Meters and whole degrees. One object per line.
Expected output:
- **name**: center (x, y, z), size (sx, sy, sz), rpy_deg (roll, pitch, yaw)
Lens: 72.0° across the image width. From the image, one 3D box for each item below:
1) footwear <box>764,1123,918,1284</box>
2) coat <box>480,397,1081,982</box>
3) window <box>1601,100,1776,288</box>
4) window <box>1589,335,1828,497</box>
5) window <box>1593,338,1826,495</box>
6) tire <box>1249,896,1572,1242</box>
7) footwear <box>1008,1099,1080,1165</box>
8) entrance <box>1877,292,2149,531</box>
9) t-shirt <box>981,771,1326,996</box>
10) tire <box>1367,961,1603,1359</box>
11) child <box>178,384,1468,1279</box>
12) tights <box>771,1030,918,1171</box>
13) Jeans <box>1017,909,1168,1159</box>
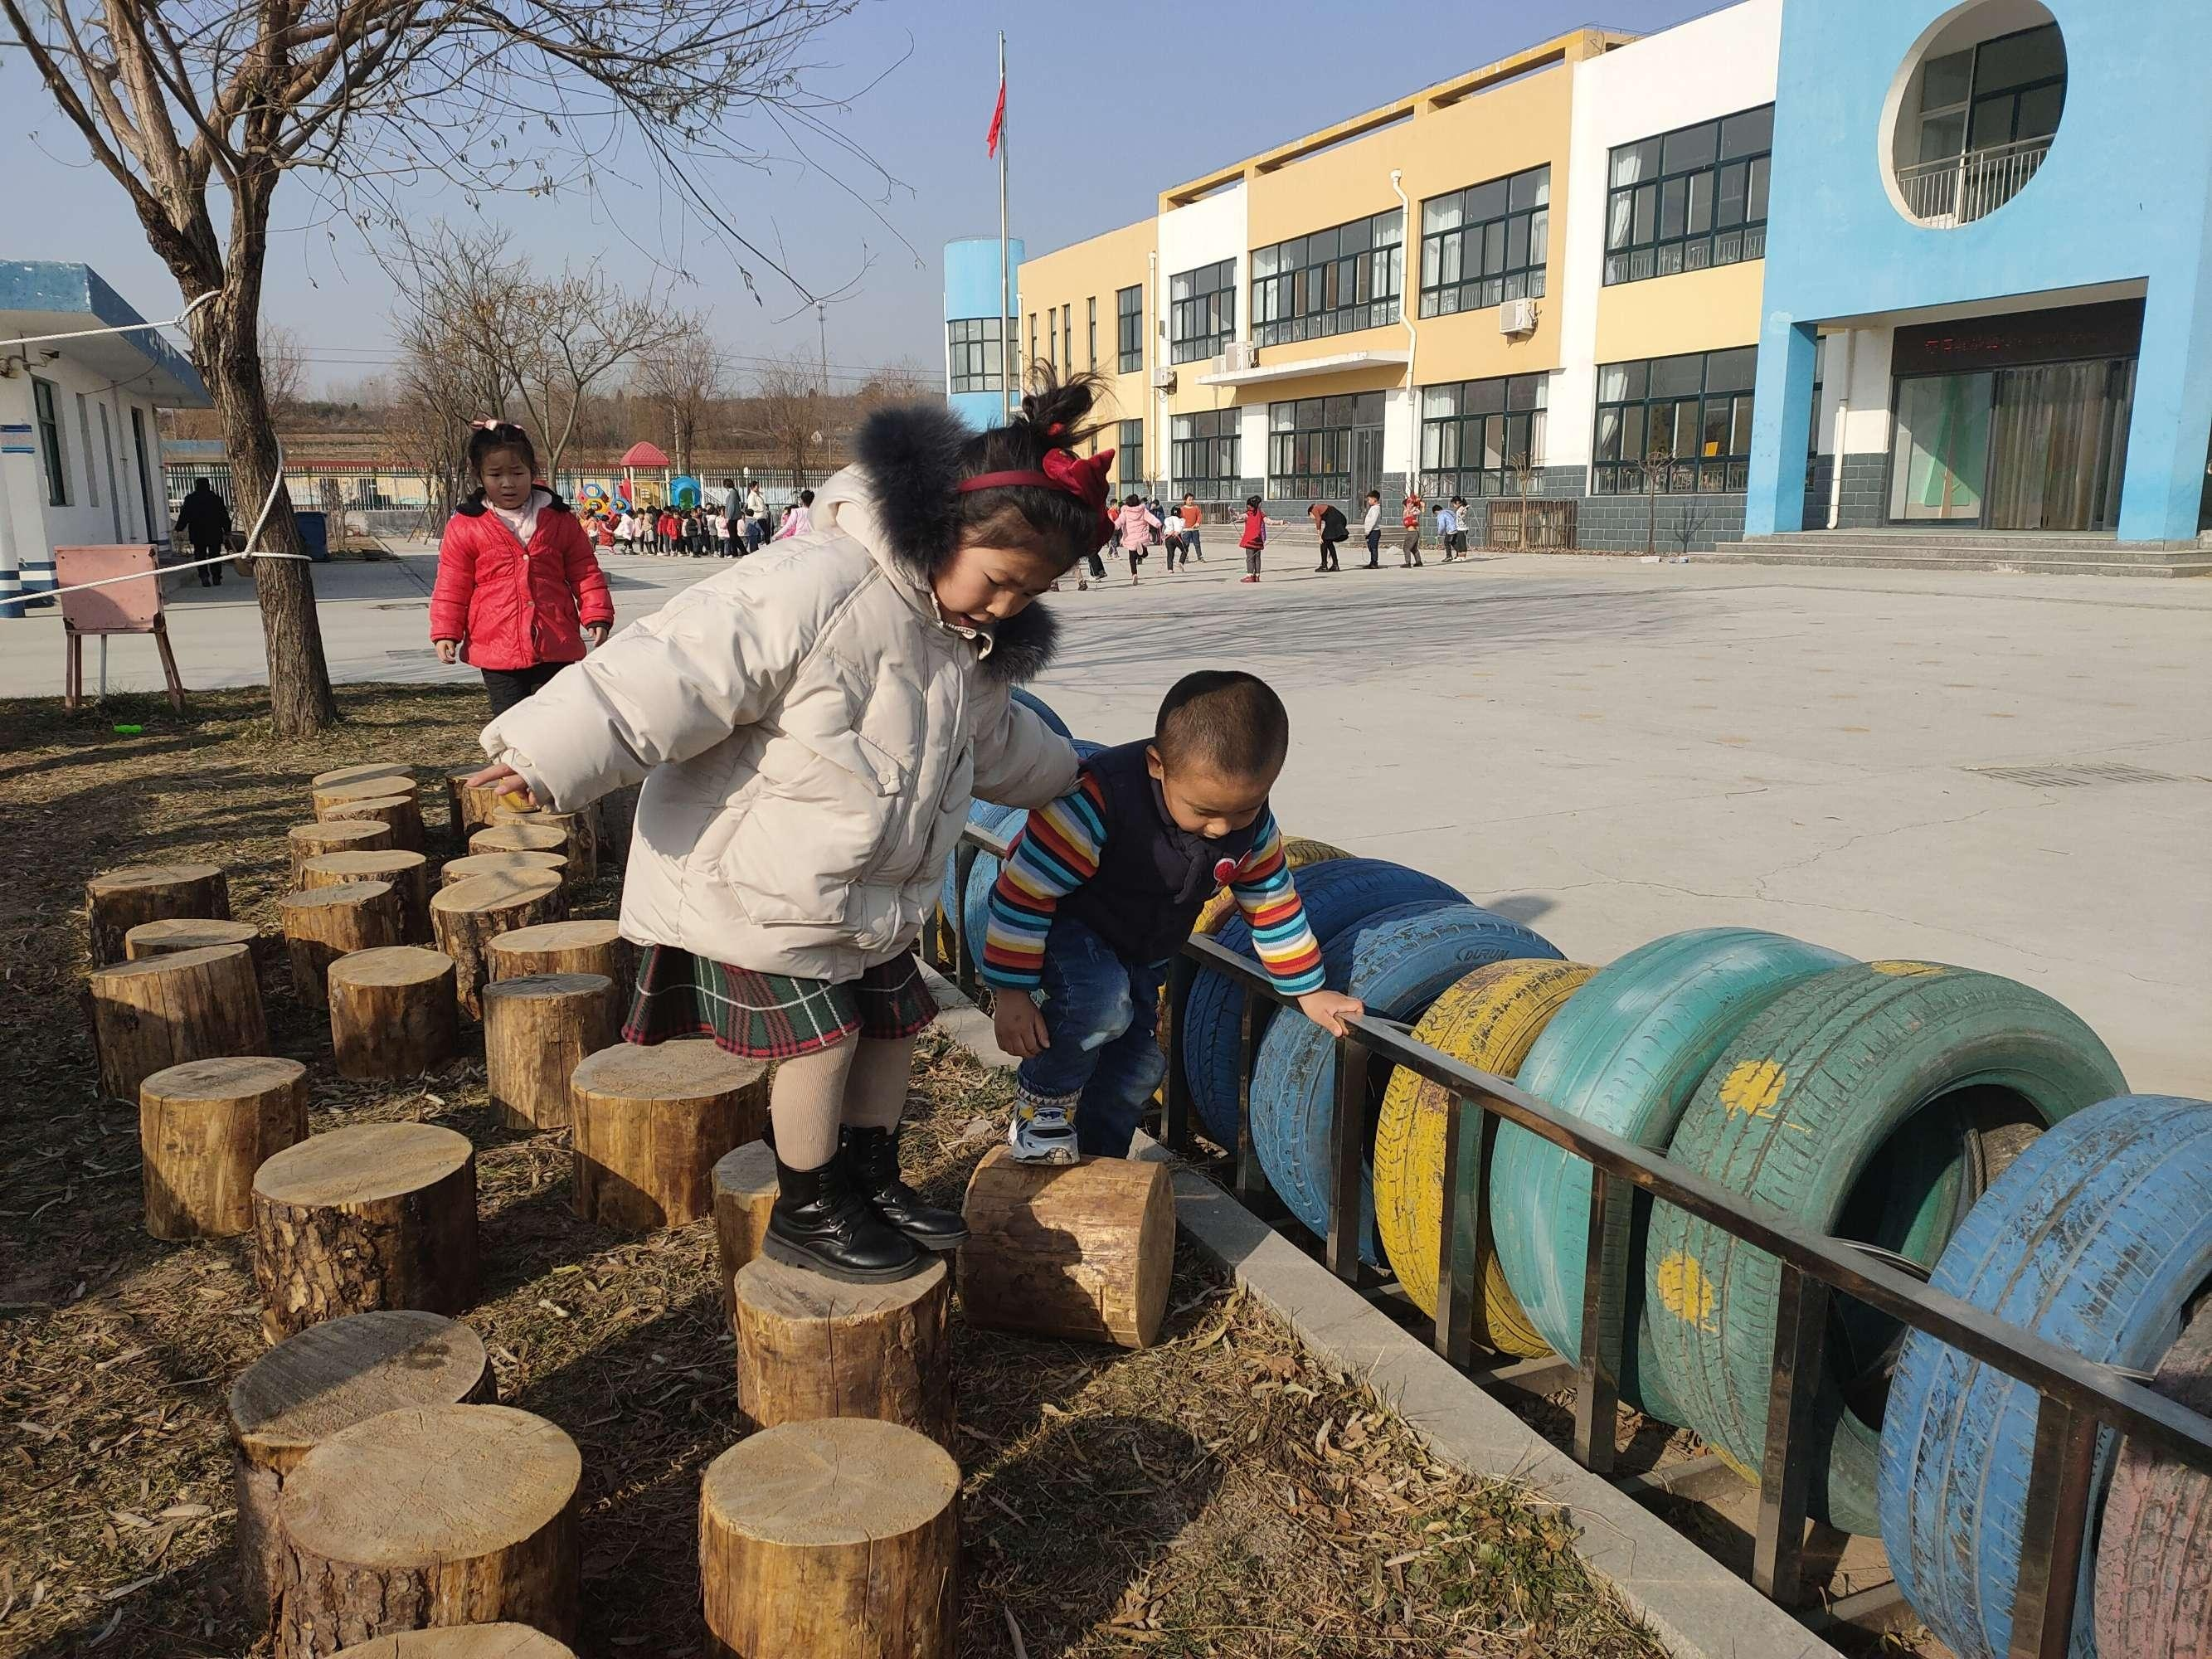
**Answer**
- **footwear**: center (-0.515, 0.700, 2.907), size (0.345, 0.230, 0.154), rpy_deg (11, 20, 9)
- **coat**: center (-0.502, -0.260, 2.862), size (0.569, 1.098, 1.408), rpy_deg (22, 15, 36)
- **window**: center (10.513, -11.238, 27.295), size (0.078, 2.400, 4.086), rpy_deg (-8, 16, -20)
- **window**: center (10.563, -7.421, 28.147), size (4.052, 2.358, 0.202), rpy_deg (-10, 17, -24)
- **window**: center (10.568, -7.420, 28.145), size (4.020, 2.336, 0.186), rpy_deg (-9, 17, -23)
- **tire**: center (0.629, 0.500, 3.138), size (0.773, 0.770, 0.294), rpy_deg (-1, 7, -27)
- **footwear**: center (-0.136, 0.665, 3.369), size (0.083, 0.098, 0.213), rpy_deg (1, 6, -7)
- **entrance**: center (14.323, -6.593, 23.600), size (0.265, 2.685, 3.654), rpy_deg (-14, 22, -33)
- **t-shirt**: center (-0.021, 0.214, 3.416), size (0.504, 0.574, 0.196), rpy_deg (15, -9, 2)
- **tire**: center (0.750, 0.645, 2.939), size (0.261, 0.689, 0.651), rpy_deg (14, 24, 33)
- **child**: center (-0.527, -0.045, 3.411), size (1.476, 1.925, 1.646), rpy_deg (5, 10, 15)
- **tights**: center (-0.507, 0.505, 2.867), size (0.158, 0.268, 0.277), rpy_deg (13, 16, 14)
- **Jeans**: center (-0.043, 0.442, 3.408), size (0.187, 0.236, 0.547), rpy_deg (26, -22, -1)
